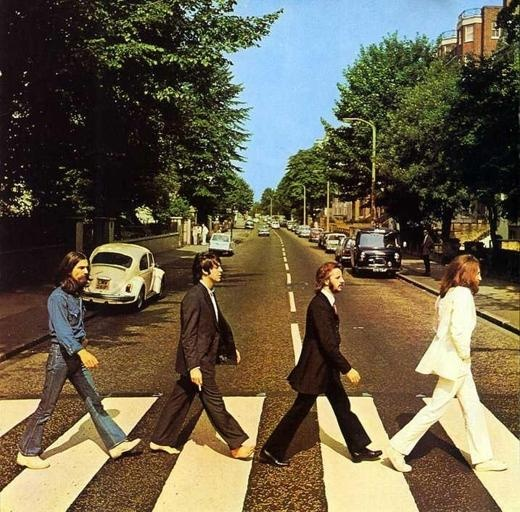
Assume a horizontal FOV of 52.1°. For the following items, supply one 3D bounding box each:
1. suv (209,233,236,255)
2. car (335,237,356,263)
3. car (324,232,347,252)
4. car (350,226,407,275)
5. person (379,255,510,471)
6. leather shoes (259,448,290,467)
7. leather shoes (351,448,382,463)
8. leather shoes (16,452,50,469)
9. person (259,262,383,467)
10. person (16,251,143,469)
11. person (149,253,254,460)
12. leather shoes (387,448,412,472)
[{"bbox_3d":[-2.660,-0.759,36.489,1.875,1.493,1.210,-1,6,-27],"label":"suv"},{"bbox_3d":[4.516,-0.288,27.999,1.129,1.272,2.827,1,8,1],"label":"car"},{"bbox_3d":[5.578,-1.037,40.317,0.953,0.898,2.158,0,-1,-3],"label":"car"},{"bbox_3d":[5.194,-0.188,23.516,1.352,1.359,2.626,0,-2,2],"label":"car"},{"bbox_3d":[1.596,0.888,4.512,0.935,1.749,0.460,1,5,-3],"label":"person"},{"bbox_3d":[0.106,1.692,4.507,0.285,0.135,0.101,11,10,9],"label":"leather shoes"},{"bbox_3d":[0.907,1.715,4.583,0.273,0.125,0.095,-7,11,-9],"label":"leather shoes"},{"bbox_3d":[-1.908,1.690,4.497,0.271,0.200,0.118,3,3,-10],"label":"leather shoes"},{"bbox_3d":[0.534,0.919,4.501,0.939,1.713,0.470,3,5,14],"label":"person"},{"bbox_3d":[-1.624,0.880,4.645,0.964,1.812,0.665,-1,6,-19],"label":"person"},{"bbox_3d":[-0.510,0.882,4.734,0.916,1.786,0.634,0,5,-10],"label":"person"},{"bbox_3d":[1.141,1.687,4.426,0.093,0.241,0.136,-17,30,45],"label":"leather shoes"}]
